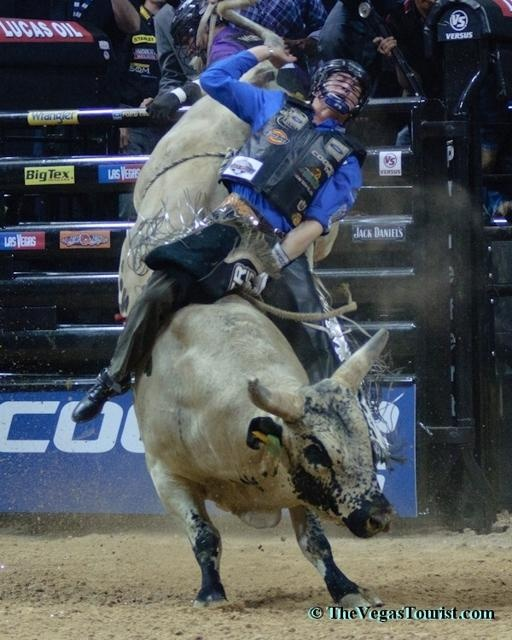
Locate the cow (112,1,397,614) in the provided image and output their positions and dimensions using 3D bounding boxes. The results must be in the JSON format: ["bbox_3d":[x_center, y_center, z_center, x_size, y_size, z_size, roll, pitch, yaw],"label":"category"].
[{"bbox_3d":[0.311,-0.124,5.383,1.117,3.013,1.683,-8,-31,-22],"label":"cow"}]

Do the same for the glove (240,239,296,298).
[{"bbox_3d":[0.061,-0.279,5.331,0.183,0.137,0.396,-28,19,45],"label":"glove"}]
